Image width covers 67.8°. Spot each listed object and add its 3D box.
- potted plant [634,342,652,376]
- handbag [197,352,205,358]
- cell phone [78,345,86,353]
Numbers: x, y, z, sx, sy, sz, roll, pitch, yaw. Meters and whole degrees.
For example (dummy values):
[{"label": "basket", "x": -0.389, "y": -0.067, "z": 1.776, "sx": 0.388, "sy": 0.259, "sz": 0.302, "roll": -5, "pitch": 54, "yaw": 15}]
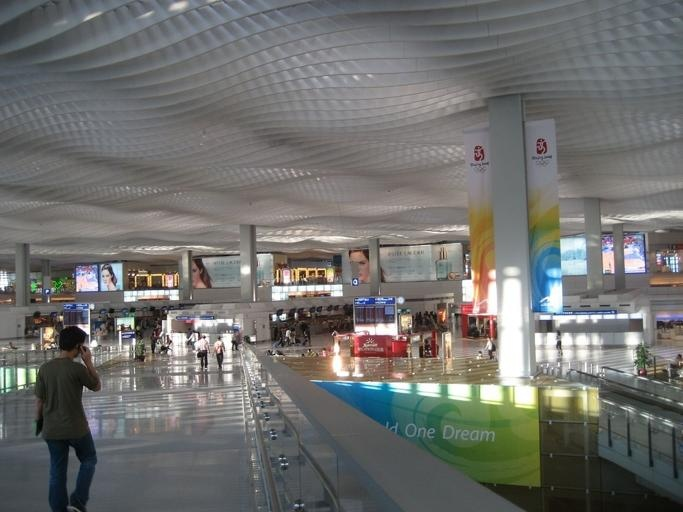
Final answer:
[{"label": "potted plant", "x": 12.493, "y": 4.198, "z": 20.879, "sx": 0.659, "sy": 1.150, "sz": 2.445, "roll": -5, "pitch": -5, "yaw": 30}, {"label": "handbag", "x": -5.625, "y": 3.896, "z": 20.340, "sx": 0.205, "sy": 0.288, "sz": 0.433, "roll": 1, "pitch": -5, "yaw": -45}, {"label": "cell phone", "x": -2.093, "y": 0.749, "z": 4.126, "sx": 0.052, "sy": 0.070, "sz": 0.044, "roll": -3, "pitch": 1, "yaw": 12}]
